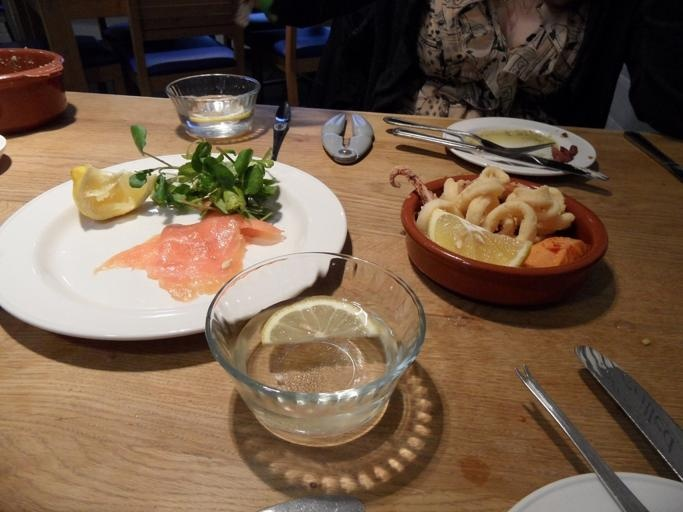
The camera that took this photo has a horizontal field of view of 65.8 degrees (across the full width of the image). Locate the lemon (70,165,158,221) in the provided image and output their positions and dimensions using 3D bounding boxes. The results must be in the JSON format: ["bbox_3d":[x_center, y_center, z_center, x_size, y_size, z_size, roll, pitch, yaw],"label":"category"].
[{"bbox_3d":[-0.431,-0.110,1.034,0.099,0.084,0.141,43,45,6],"label":"lemon"}]

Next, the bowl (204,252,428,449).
[{"bbox_3d":[-0.040,0.110,0.719,0.267,0.137,0.239,-12,44,-19],"label":"bowl"}]
